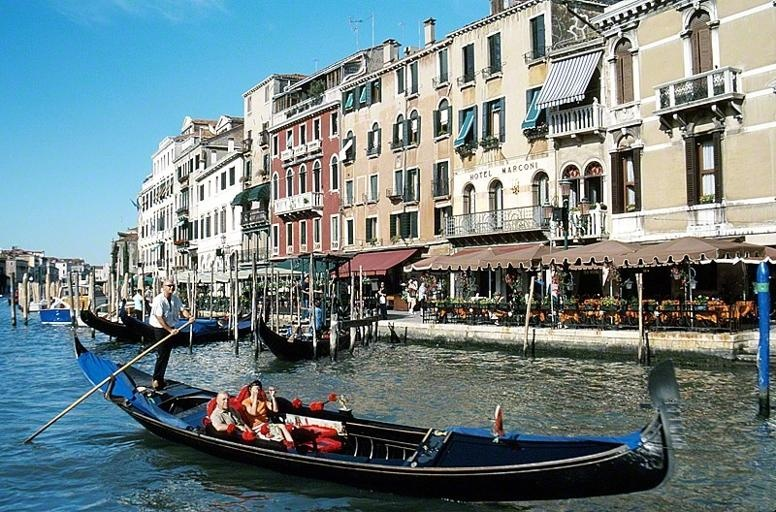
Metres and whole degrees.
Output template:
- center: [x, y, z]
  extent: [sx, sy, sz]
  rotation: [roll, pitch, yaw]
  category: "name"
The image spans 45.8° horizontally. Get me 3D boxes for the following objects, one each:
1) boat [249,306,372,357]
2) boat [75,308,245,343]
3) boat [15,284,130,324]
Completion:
- center: [-2.872, 3.737, 43.020]
  extent: [1.846, 2.771, 8.034]
  rotation: [-1, -3, 41]
  category: "boat"
- center: [-11.462, 3.582, 46.161]
  extent: [7.957, 2.413, 2.164]
  rotation: [3, -10, -15]
  category: "boat"
- center: [-23.393, 3.599, 67.803]
  extent: [9.823, 2.957, 3.011]
  rotation: [4, -6, -42]
  category: "boat"
